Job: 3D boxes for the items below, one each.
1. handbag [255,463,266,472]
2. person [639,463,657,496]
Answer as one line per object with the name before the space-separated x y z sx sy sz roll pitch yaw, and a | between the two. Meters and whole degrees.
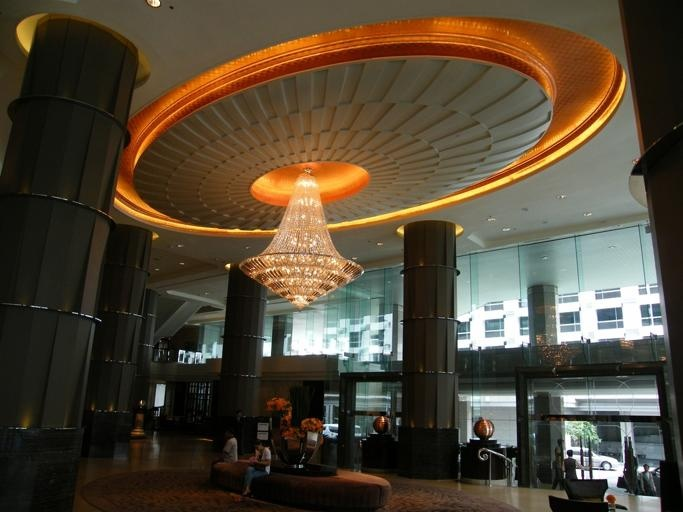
handbag | -1.694 4.380 9.691 0.222 0.185 0.124 -5 -10 31
person | 7.789 5.712 11.974 0.338 0.729 0.114 -8 -18 29
